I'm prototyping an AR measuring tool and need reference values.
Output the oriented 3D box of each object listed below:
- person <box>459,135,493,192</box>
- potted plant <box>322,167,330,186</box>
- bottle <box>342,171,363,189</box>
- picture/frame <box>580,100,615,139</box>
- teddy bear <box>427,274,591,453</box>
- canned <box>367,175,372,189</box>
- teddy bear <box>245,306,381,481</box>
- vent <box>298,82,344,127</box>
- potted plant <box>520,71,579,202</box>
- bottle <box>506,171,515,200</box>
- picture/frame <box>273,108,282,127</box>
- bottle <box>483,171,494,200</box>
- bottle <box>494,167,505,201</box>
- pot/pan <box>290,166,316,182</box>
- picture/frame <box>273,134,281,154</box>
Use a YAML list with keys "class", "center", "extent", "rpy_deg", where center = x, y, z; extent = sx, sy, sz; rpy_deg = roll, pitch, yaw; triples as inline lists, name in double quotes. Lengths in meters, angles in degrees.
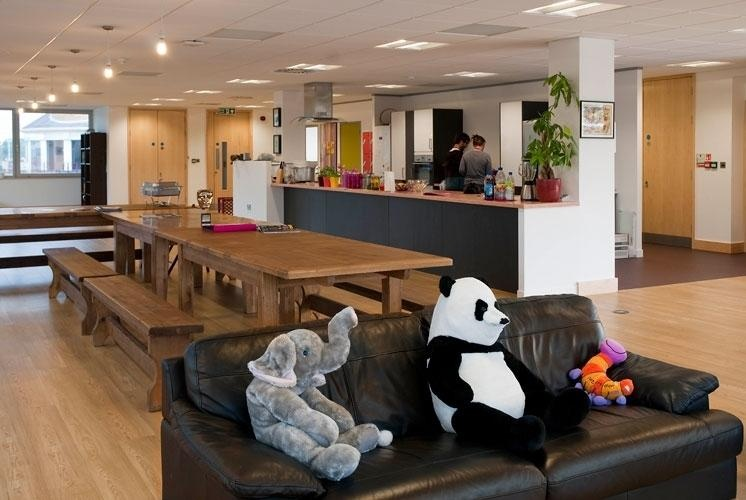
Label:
- class: "person"
  center: [1.594, -1.342, 8.543]
  extent: [0.473, 0.873, 0.844]
  rpy_deg: [2, 11, 9]
- class: "potted plant"
  center: [-0.827, -1.337, 10.026]
  extent: [0.215, 0.325, 0.516]
  rpy_deg: [-1, 11, -5]
- class: "bottle"
  center: [-0.340, -1.203, 9.436]
  extent: [0.232, 0.272, 0.540]
  rpy_deg: [-4, 11, -19]
- class: "picture/frame"
  center: [2.825, -1.638, 6.899]
  extent: [0.563, 0.460, 0.046]
  rpy_deg: [-5, 12, -24]
- class: "teddy bear"
  center: [0.645, 0.563, 2.830]
  extent: [0.624, 0.816, 0.770]
  rpy_deg: [-1, -1, -41]
- class: "canned"
  center: [-0.053, -1.143, 9.187]
  extent: [0.074, 0.227, 0.133]
  rpy_deg: [0, 11, 0]
- class: "teddy bear"
  center: [-0.223, 0.662, 2.698]
  extent: [0.678, 0.766, 0.597]
  rpy_deg: [8, -8, 12]
- class: "vent"
  center: [-1.055, -2.889, 10.689]
  extent: [0.800, 0.713, 0.834]
  rpy_deg: [7, 14, 27]
- class: "potted plant"
  center: [2.195, -1.428, 6.888]
  extent: [0.631, 1.604, 0.475]
  rpy_deg: [-5, 12, -23]
- class: "bottle"
  center: [1.758, -0.779, 7.074]
  extent: [0.098, 0.256, 0.233]
  rpy_deg: [2, 11, 11]
- class: "picture/frame"
  center: [-1.979, -2.792, 11.534]
  extent: [0.119, 0.428, 0.375]
  rpy_deg: [-7, 12, -31]
- class: "bottle"
  center: [1.543, -0.836, 7.232]
  extent: [0.128, 0.323, 0.267]
  rpy_deg: [2, 11, 10]
- class: "bottle"
  center: [1.673, -0.861, 7.202]
  extent: [0.124, 0.379, 0.408]
  rpy_deg: [2, 11, 12]
- class: "pot/pan"
  center: [-1.406, -1.513, 10.949]
  extent: [0.374, 0.236, 0.377]
  rpy_deg: [6, 12, 29]
- class: "picture/frame"
  center: [-1.995, -2.201, 11.447]
  extent: [0.122, 0.375, 0.259]
  rpy_deg: [-10, 15, -43]
